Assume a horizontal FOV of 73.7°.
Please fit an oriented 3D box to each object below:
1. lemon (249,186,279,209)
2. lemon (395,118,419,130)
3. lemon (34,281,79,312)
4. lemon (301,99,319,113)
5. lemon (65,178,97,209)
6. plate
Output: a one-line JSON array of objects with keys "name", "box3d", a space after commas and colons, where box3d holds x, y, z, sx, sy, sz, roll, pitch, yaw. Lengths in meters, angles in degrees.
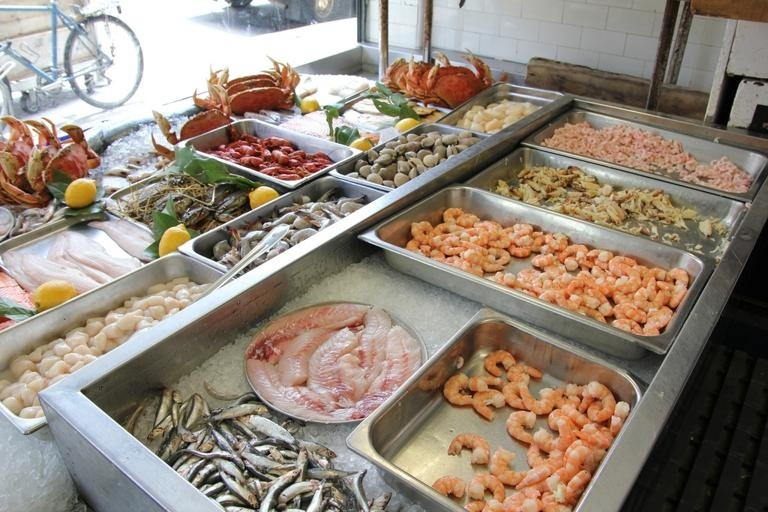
[{"name": "lemon", "box3d": [-0.565, -0.278, 2.430, 0.100, 0.096, 0.128, -13, -10, 44]}, {"name": "lemon", "box3d": [0.137, -0.772, 2.973, 0.103, 0.058, 0.085, -31, 31, -35]}, {"name": "lemon", "box3d": [-1.220, 0.132, 1.924, 0.143, 0.106, 0.111, -8, 17, -39]}, {"name": "lemon", "box3d": [-0.465, -0.973, 3.318, 0.115, 0.101, 0.123, -7, 36, 1]}, {"name": "lemon", "box3d": [-1.384, -0.290, 2.401, 0.116, 0.116, 0.153, -2, 10, 21]}, {"name": "plate", "box3d": [-0.159, 0.311, 1.619, 0.440, 0.110, 0.508, 26, 43, 32]}]
